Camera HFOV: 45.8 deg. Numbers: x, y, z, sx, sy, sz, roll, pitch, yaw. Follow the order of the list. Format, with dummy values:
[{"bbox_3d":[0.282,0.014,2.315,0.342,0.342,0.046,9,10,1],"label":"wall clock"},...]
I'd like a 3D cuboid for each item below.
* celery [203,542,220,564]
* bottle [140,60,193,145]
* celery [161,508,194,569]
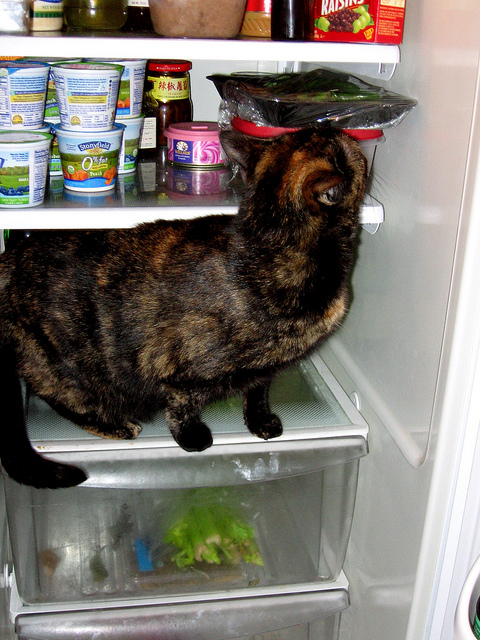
[{"bbox_3d":[-0.045,0.382,0.926,0.025,0.035,0.015,-1,8,-16],"label":"celery"},{"bbox_3d":[-0.126,-0.451,1.211,0.116,0.170,0.108,-2,29,1],"label":"bottle"},{"bbox_3d":[-0.098,0.359,0.930,0.060,0.078,0.095,-8,22,-15],"label":"celery"}]
